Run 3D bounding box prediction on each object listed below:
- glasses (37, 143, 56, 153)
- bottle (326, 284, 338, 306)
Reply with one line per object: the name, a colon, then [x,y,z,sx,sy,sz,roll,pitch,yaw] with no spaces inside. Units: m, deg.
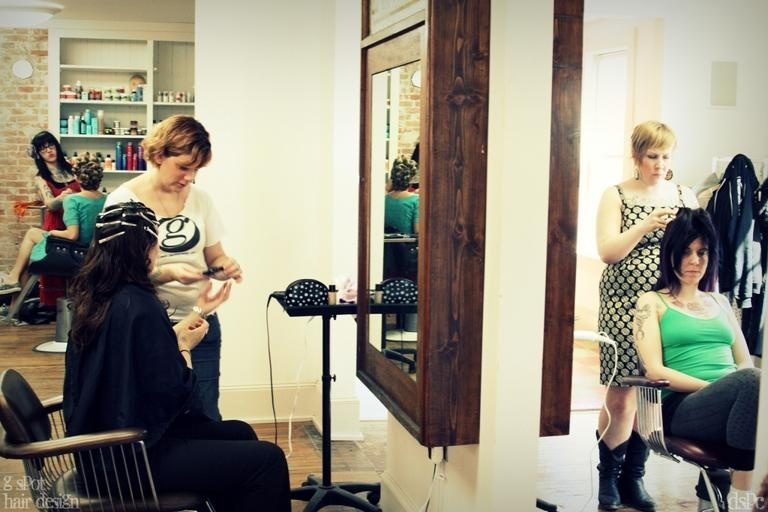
glasses: [-3.531,-1.113,6.921,0.163,0.105,0.068,-1,2,-25]
bottle: [-0.284,0.215,3.607,0.042,0.100,0.059,0,2,10]
